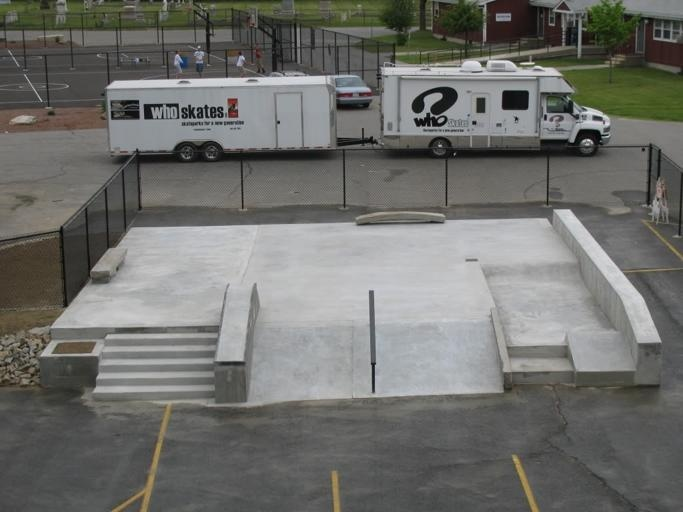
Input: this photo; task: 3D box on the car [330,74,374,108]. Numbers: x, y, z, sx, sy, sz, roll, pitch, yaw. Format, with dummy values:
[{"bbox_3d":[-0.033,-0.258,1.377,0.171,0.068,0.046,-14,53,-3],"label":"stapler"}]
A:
[{"bbox_3d":[0.774,-10.497,43.133,2.107,1.943,2.227,-3,21,-2],"label":"car"}]
